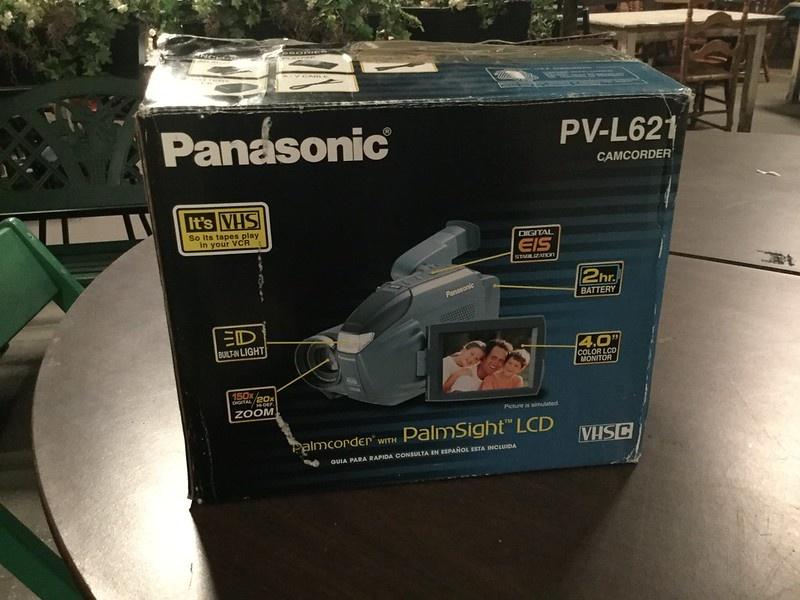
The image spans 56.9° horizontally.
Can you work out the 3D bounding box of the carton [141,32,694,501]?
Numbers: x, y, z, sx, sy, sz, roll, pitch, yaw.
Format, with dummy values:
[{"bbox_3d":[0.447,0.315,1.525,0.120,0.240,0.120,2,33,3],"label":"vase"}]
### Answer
[{"bbox_3d":[0.011,-0.054,0.924,0.564,0.471,0.330,-6,22,-8],"label":"carton"}]
